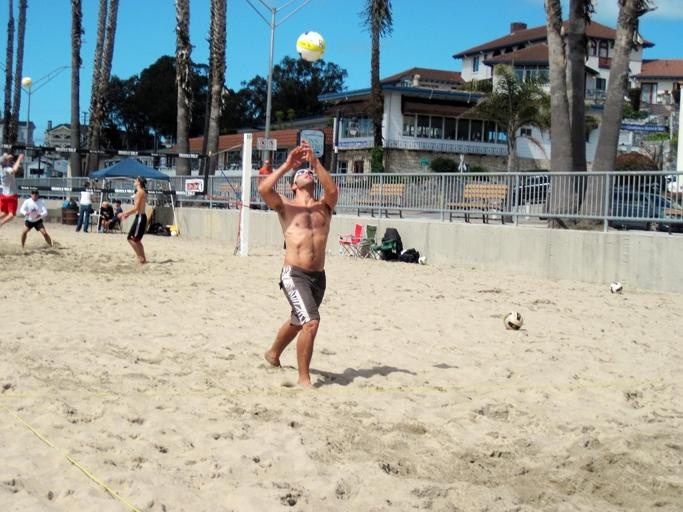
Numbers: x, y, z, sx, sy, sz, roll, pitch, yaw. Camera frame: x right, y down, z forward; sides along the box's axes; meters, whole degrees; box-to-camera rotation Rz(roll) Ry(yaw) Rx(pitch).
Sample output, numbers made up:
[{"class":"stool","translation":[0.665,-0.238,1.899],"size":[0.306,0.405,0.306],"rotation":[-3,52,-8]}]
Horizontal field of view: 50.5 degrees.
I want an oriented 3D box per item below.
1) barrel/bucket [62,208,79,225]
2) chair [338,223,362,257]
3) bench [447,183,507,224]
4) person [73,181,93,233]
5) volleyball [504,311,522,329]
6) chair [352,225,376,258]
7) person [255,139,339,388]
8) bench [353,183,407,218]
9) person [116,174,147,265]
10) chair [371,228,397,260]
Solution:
[{"class":"barrel/bucket","translation":[-10.200,-1.520,27.263],"size":[0.512,0.786,0.714],"rotation":[-2,7,-33]},{"class":"chair","translation":[0.324,-0.337,17.005],"size":[0.550,0.667,0.586],"rotation":[1,-5,-20]},{"class":"bench","translation":[2.963,-1.149,15.364],"size":[1.236,0.948,0.574],"rotation":[-3,12,-36]},{"class":"person","translation":[-8.488,-1.610,23.850],"size":[0.374,1.586,0.455],"rotation":[4,6,-43]},{"class":"volleyball","translation":[2.246,0.859,9.319],"size":[0.163,0.224,0.224],"rotation":[6,-36,-9]},{"class":"chair","translation":[0.657,-0.353,16.697],"size":[0.616,0.940,0.615],"rotation":[1,2,43]},{"class":"person","translation":[-0.410,0.045,7.024],"size":[0.709,2.298,0.868],"rotation":[2,9,-1]},{"class":"bench","translation":[1.037,-1.378,17.386],"size":[0.316,0.873,1.698],"rotation":[-3,11,-28]},{"class":"person","translation":[-4.016,-0.646,13.917],"size":[0.545,1.775,0.531],"rotation":[0,-3,7]},{"class":"chair","translation":[0.998,-0.249,16.141],"size":[0.571,0.721,0.580],"rotation":[-1,6,44]}]
